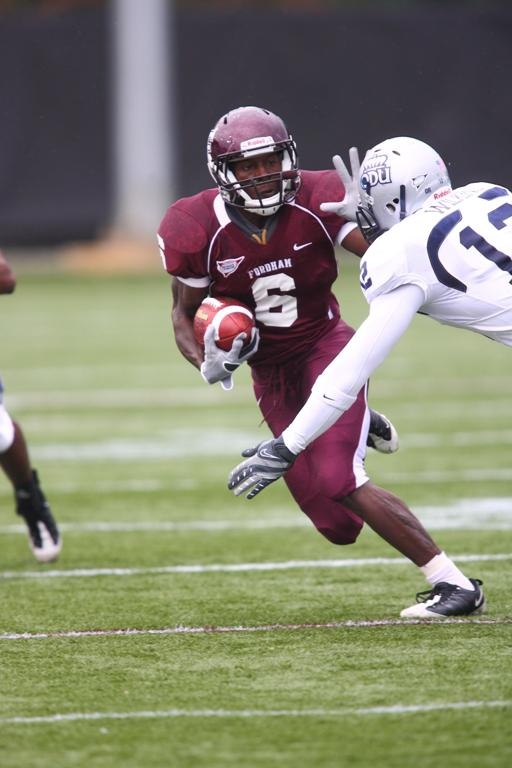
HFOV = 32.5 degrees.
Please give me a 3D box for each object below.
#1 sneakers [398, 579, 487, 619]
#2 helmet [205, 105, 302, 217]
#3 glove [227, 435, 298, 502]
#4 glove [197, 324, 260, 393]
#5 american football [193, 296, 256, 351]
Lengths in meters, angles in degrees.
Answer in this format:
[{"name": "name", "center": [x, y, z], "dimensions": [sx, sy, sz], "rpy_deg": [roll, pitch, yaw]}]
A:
[{"name": "sneakers", "center": [0.526, 0.601, 2.477], "dimensions": [0.297, 0.097, 0.093], "rpy_deg": [-5, -11, -6]}, {"name": "helmet", "center": [0.012, -0.671, 2.628], "dimensions": [0.309, 0.272, 0.352], "rpy_deg": [-14, 23, -4]}, {"name": "glove", "center": [0.021, 0.231, 2.341], "dimensions": [0.058, 0.206, 0.126], "rpy_deg": [1, 56, -58]}, {"name": "glove", "center": [-0.080, -0.087, 2.622], "dimensions": [0.164, 0.182, 0.089], "rpy_deg": [28, 45, 26]}, {"name": "american football", "center": [-0.092, -0.179, 2.613], "dimensions": [0.153, 0.121, 0.180], "rpy_deg": [15, -3, -18]}]
